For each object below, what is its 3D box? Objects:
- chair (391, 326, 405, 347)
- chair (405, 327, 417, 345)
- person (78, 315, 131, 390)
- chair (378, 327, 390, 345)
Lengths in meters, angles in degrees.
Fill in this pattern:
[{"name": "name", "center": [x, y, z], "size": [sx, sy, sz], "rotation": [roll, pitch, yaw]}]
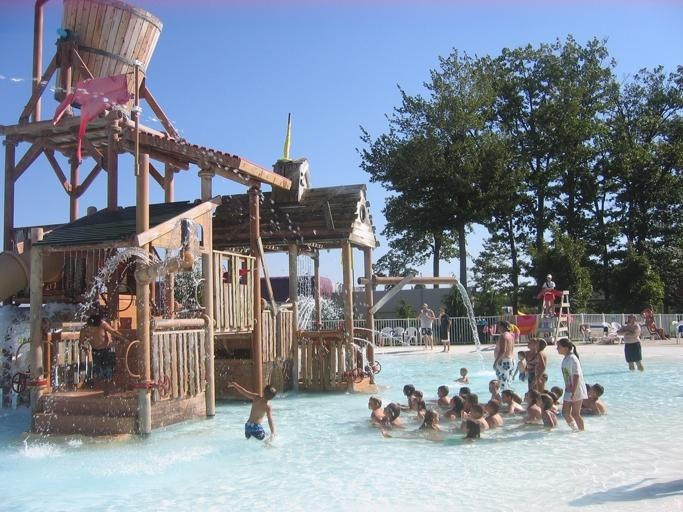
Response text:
[{"name": "chair", "center": [2.655, 3.696, 31.232], "size": [0.707, 1.036, 0.757], "rotation": [0, -10, 8]}, {"name": "chair", "center": [3.228, 3.742, 31.481], "size": [0.661, 0.970, 0.707], "rotation": [0, -5, 6]}, {"name": "person", "center": [-4.927, 2.063, 14.301], "size": [0.938, 1.789, 0.726], "rotation": [-7, 15, -5]}, {"name": "chair", "center": [1.965, 3.710, 31.501], "size": [0.687, 1.013, 0.765], "rotation": [2, 3, 3]}]
